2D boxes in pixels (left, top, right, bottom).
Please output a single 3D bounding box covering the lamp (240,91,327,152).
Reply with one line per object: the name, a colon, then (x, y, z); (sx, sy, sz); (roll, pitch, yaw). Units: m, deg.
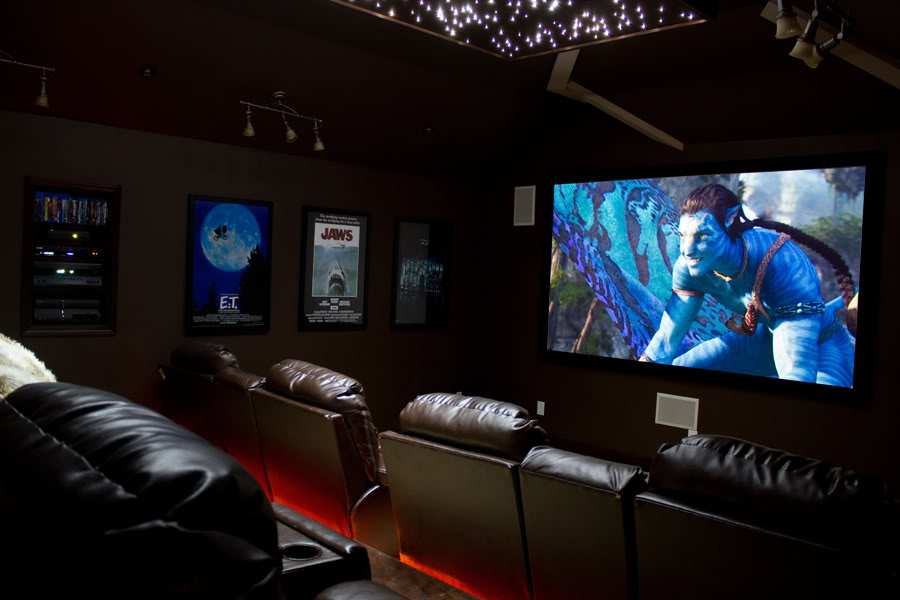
lamp: (-1.513, -1.626, 5.495); (0.672, 0.331, 0.153); (21, -47, -32)
